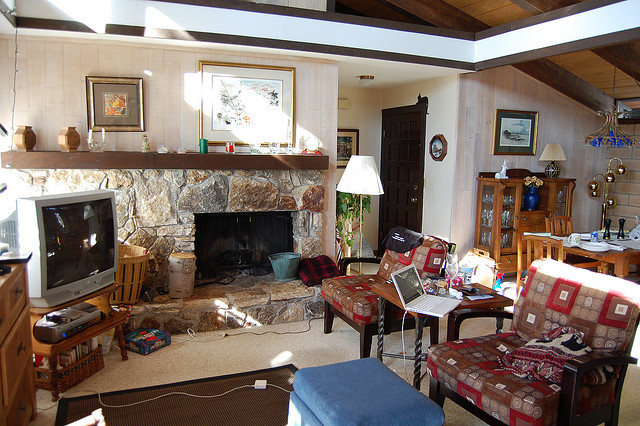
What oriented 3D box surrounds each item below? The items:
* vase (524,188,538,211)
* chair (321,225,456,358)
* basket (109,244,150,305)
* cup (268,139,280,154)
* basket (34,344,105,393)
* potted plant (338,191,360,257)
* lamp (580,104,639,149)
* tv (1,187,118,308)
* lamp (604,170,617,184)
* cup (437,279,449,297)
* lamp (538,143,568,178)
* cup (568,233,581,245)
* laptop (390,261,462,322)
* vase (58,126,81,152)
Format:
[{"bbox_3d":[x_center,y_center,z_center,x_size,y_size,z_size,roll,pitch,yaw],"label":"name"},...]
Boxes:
[{"bbox_3d":[3.205,-0.210,6.401,0.213,0.325,0.119,-2,8,-14],"label":"vase"},{"bbox_3d":[0.698,0.808,4.600,1.157,1.173,1.048,-5,10,-29],"label":"chair"},{"bbox_3d":[-2.057,0.676,4.787,0.537,0.550,0.587,-2,5,-42],"label":"basket"},{"bbox_3d":[-0.570,-0.827,5.286,0.173,0.128,0.150,-2,6,-19],"label":"cup"},{"bbox_3d":[-2.245,1.411,3.865,0.281,0.145,0.408,-1,3,21],"label":"basket"},{"bbox_3d":[0.362,0.202,6.001,0.297,1.099,0.262,13,25,24],"label":"potted plant"},{"bbox_3d":[3.717,-1.094,5.401,0.443,0.480,0.375,6,10,39],"label":"lamp"},{"bbox_3d":[-2.251,0.314,3.670,0.591,1.001,1.054,3,6,16],"label":"tv"},{"bbox_3d":[4.648,-0.569,6.826,0.186,0.196,0.186,-10,14,-41],"label":"lamp"},{"bbox_3d":[1.094,0.677,3.775,0.127,0.132,0.120,2,1,0],"label":"cup"},{"bbox_3d":[3.552,-0.791,6.482,0.334,0.503,0.458,3,8,26],"label":"lamp"},{"bbox_3d":[3.046,0.315,5.088,0.174,0.159,0.108,1,1,5],"label":"cup"},{"bbox_3d":[0.918,0.643,3.611,0.554,0.295,0.556,2,5,19],"label":"laptop"},{"bbox_3d":[-2.775,-0.816,4.697,0.226,0.286,0.225,1,11,26],"label":"vase"}]
